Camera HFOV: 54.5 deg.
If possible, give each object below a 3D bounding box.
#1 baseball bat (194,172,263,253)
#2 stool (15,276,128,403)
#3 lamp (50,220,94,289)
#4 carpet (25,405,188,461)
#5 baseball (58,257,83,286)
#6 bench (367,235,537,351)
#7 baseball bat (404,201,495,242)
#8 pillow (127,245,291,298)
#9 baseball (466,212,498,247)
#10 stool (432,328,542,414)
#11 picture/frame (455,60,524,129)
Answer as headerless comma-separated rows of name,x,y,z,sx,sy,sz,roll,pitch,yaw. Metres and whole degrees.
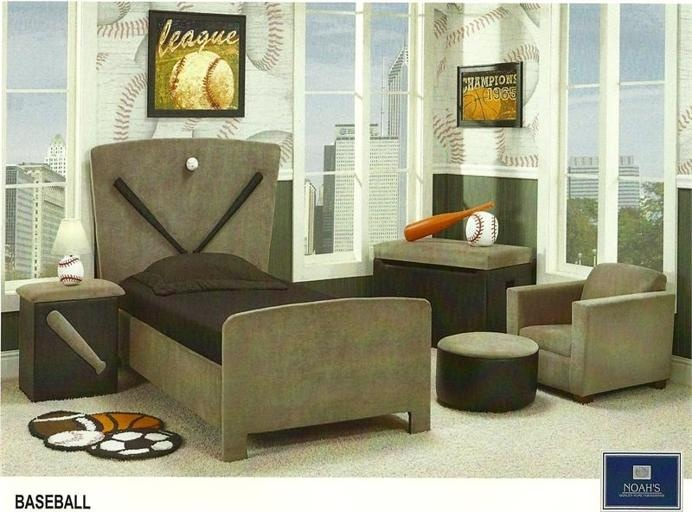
baseball bat,-1.010,-0.375,5.606,0.091,0.803,0.089,38,-8,5
stool,-2.019,0.572,4.802,0.672,0.786,0.469,-4,11,-45
lamp,-1.961,-0.023,4.788,0.281,0.442,0.278,-3,-3,9
carpet,-1.484,1.075,4.175,1.054,0.040,0.637,5,7,23
baseball,-1.926,0.105,4.695,0.201,0.226,0.195,-1,2,-11
bench,0.902,0.280,6.096,1.231,0.782,0.711,5,9,33
baseball bat,0.910,-0.317,6.013,0.843,0.128,0.150,-20,-5,25
pillow,-1.082,0.076,5.117,1.036,0.307,0.718,-1,6,-37
baseball,1.172,-0.242,5.880,0.284,0.276,0.270,7,-9,-28
stool,0.960,0.737,4.646,0.560,0.500,0.565,-1,8,-31
picture/frame,1.307,-1.475,6.175,0.702,0.568,0.056,9,16,44
